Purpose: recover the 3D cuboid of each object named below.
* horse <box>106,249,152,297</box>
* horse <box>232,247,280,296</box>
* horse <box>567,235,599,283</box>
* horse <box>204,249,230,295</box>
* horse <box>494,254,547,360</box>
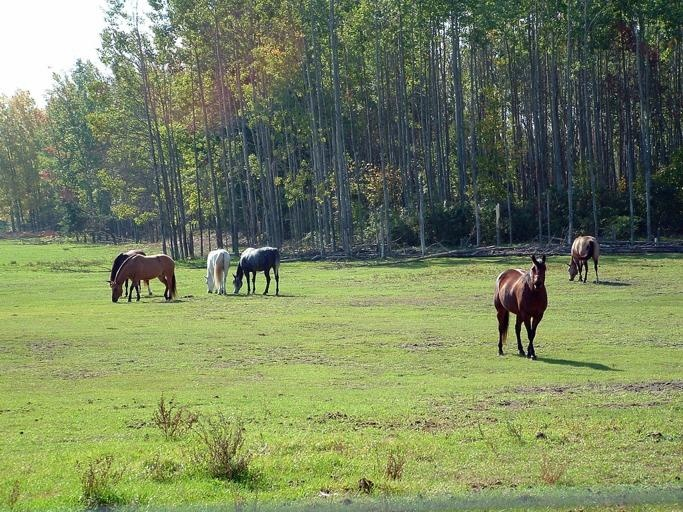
[{"bbox_3d":[-12.378,1.094,67.831,1.199,2.776,5.014,-7,12,-14],"label":"horse"},{"bbox_3d":[-5.355,1.144,70.320,3.747,3.169,1.365,-11,-12,33],"label":"horse"},{"bbox_3d":[14.630,0.240,68.253,1.706,2.681,3.934,-1,1,11],"label":"horse"},{"bbox_3d":[-7.581,1.019,69.131,1.064,2.625,1.856,-1,1,-26],"label":"horse"},{"bbox_3d":[8.248,2.345,51.857,2.524,4.635,1.537,0,1,29],"label":"horse"}]
